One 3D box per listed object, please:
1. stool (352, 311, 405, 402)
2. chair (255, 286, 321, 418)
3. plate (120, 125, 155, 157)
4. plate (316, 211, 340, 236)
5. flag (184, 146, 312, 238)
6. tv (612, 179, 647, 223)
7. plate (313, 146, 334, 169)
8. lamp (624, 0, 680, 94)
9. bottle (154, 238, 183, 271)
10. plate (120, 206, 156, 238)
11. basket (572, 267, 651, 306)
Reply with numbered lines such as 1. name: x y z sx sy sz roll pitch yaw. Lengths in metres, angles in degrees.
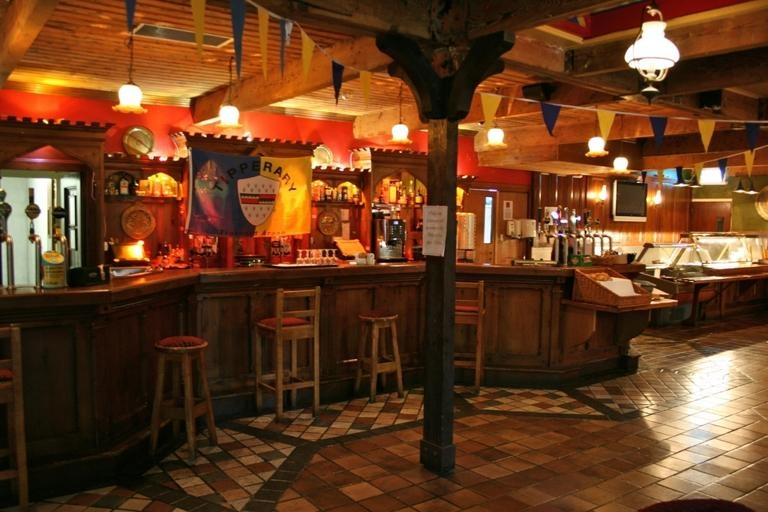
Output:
1. stool: -0.076 1.301 8.180 0.668 1.166 0.824 1 13 1
2. chair: -1.225 1.139 7.644 0.837 1.600 1.016 -1 13 -8
3. plate: -4.381 -2.054 10.824 0.647 0.533 0.140 -2 11 -41
4. plate: -1.092 -0.656 11.867 0.474 0.529 0.129 -9 16 -35
5. flag: -2.022 -0.929 9.016 1.870 1.032 0.031 -4 10 -36
6. tv: 6.835 -1.591 17.152 1.542 1.151 0.219 -1 2 -27
7. plate: -1.260 -2.069 12.368 0.251 0.384 0.689 7 14 25
8. lamp: 3.116 -2.432 7.106 0.526 1.011 1.678 6 13 21
9. bottle: -3.792 -0.032 10.640 0.507 0.359 0.621 -4 13 -20
10. plate: -4.294 -0.593 10.512 0.473 0.457 0.052 33 -14 -13
11. basket: 3.111 0.308 8.695 0.951 0.355 0.664 -2 3 -30
